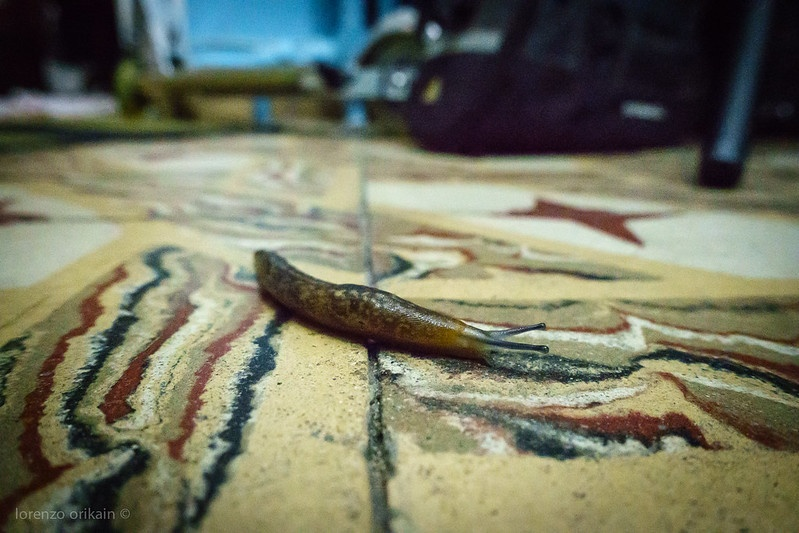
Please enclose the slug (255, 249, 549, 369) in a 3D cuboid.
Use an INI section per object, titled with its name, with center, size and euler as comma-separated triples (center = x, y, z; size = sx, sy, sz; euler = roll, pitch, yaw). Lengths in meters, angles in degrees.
[slug]
center = -0.024, 0.067, 0.953
size = 0.511, 0.084, 0.134
euler = 11, 10, 14
